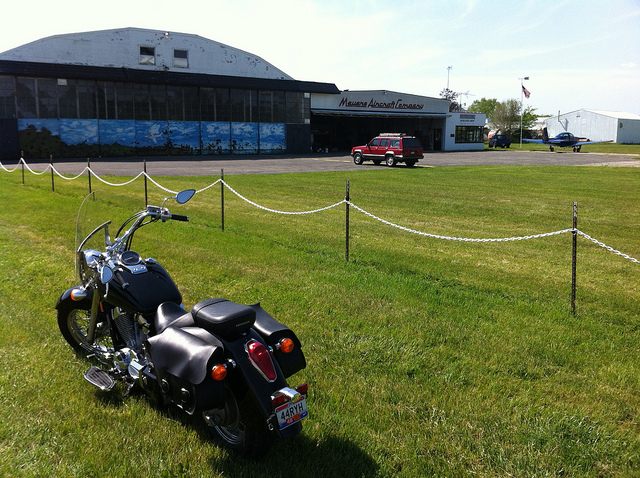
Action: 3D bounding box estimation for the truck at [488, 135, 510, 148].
[{"bbox_3d":[24.066,-13.099,76.720,2.375,1.621,1.713,0,12,-5],"label":"truck"}]

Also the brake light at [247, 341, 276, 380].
[{"bbox_3d":[-0.524,1.130,5.235,0.212,0.357,0.045,-15,-18,-37],"label":"brake light"}]

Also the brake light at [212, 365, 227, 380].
[{"bbox_3d":[-0.908,1.201,5.138,0.035,0.122,0.105,4,16,41],"label":"brake light"}]

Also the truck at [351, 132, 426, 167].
[{"bbox_3d":[4.424,-5.450,36.400,2.357,2.066,3.875,-15,27,-42],"label":"truck"}]
